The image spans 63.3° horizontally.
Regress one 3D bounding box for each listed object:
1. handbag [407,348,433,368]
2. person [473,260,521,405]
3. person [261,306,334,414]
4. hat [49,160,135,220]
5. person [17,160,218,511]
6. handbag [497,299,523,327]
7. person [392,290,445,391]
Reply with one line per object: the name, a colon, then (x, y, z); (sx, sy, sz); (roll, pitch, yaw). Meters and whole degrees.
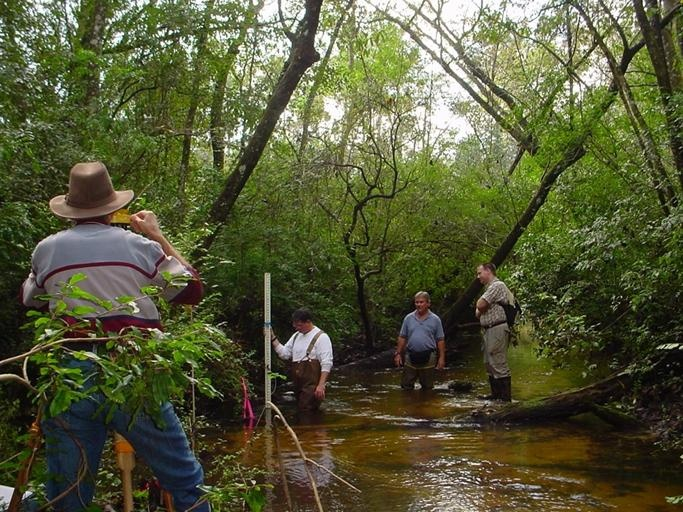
handbag: (1.672, 2.175, 11.739); (0.467, 0.360, 0.360); (11, -8, -21)
person: (2.870, 1.386, 10.093); (0.730, 1.839, 0.894); (-2, -1, 16)
person: (-0.647, 1.821, 9.718); (0.981, 1.773, 0.671); (-2, -1, 6)
hat: (-1.745, -0.444, 3.932); (0.424, 0.228, 0.483); (14, 25, 27)
person: (-1.500, 0.537, 3.643); (1.185, 2.460, 1.044); (-1, -1, -12)
handbag: (3.098, 1.014, 10.084); (0.498, 0.502, 0.347); (-7, 17, -20)
person: (1.687, 1.835, 11.754); (1.085, 2.105, 0.880); (-2, -1, 23)
